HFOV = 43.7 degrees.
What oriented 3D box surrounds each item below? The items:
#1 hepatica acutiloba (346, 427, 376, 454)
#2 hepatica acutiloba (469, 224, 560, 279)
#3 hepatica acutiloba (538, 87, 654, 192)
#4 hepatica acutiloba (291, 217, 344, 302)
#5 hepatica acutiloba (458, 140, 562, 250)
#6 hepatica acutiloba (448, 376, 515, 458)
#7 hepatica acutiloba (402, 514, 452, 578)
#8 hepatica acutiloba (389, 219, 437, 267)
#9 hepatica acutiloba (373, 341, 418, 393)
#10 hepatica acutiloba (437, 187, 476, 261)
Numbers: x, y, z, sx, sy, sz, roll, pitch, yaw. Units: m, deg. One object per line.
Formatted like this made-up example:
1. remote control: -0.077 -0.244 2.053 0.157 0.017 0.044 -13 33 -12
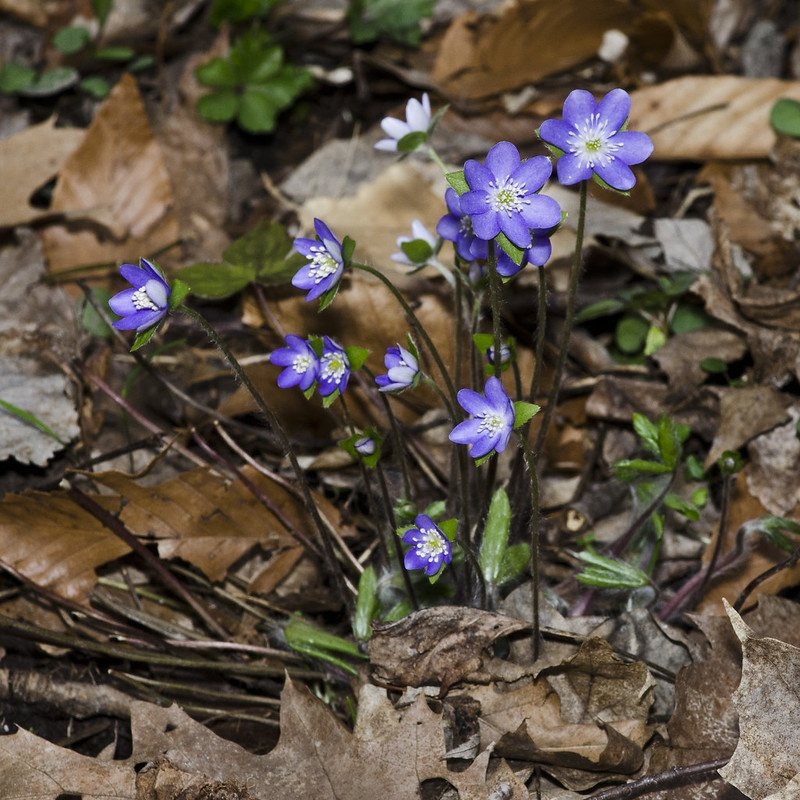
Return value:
1. hepatica acutiloba: -0.082 0.093 2.256 0.066 0.027 0.059 -22 85 -18
2. hepatica acutiloba: 0.244 -0.302 2.148 0.132 0.036 0.121 -18 35 4
3. hepatica acutiloba: 0.397 -0.532 2.050 0.216 0.117 0.221 -16 59 -3
4. hepatica acutiloba: -0.177 -0.299 2.164 0.085 0.179 0.162 1 86 -34
5. hepatica acutiloba: 0.227 -0.422 2.028 0.201 0.136 0.216 3 60 8
6. hepatica acutiloba: 0.171 0.059 2.088 0.135 0.236 0.150 1 61 7
7. hepatica acutiloba: 0.056 0.316 2.167 0.102 0.095 0.117 -4 60 4
8. hepatica acutiloba: 0.036 -0.421 2.628 0.067 0.156 0.144 4 81 -20
9. hepatica acutiloba: -0.008 -0.067 2.202 0.055 0.106 0.087 6 72 -37
10. hepatica acutiloba: 0.128 -0.406 2.304 0.026 0.142 0.153 -19 93 -35
